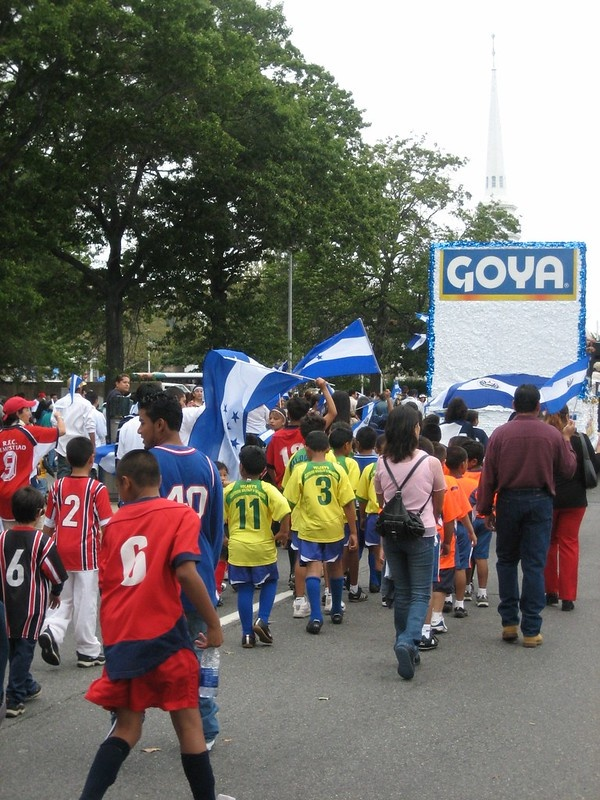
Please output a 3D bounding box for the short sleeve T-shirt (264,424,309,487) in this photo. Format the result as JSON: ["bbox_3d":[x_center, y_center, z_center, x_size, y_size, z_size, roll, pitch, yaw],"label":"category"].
[{"bbox_3d":[-0.101,0.483,8.941,0.516,0.581,0.253,6,25,12],"label":"short sleeve T-shirt"}]

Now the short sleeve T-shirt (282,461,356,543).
[{"bbox_3d":[0.139,0.772,7.749,0.660,0.643,0.319,0,8,12],"label":"short sleeve T-shirt"}]

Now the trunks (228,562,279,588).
[{"bbox_3d":[-0.317,1.168,7.013,0.303,0.210,0.169,1,10,8],"label":"trunks"}]

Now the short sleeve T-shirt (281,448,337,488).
[{"bbox_3d":[0.086,0.525,8.010,0.372,0.337,0.151,-7,-19,13],"label":"short sleeve T-shirt"}]

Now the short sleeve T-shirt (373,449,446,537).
[{"bbox_3d":[0.714,0.572,6.575,0.455,0.521,0.305,-1,19,18],"label":"short sleeve T-shirt"}]

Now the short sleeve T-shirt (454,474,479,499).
[{"bbox_3d":[1.278,0.662,7.972,0.220,0.207,0.119,2,-18,10],"label":"short sleeve T-shirt"}]

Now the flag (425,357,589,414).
[{"bbox_3d":[2.852,-0.303,13.942,1.890,0.549,1.419,2,-15,21],"label":"flag"}]

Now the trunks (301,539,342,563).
[{"bbox_3d":[0.150,1.119,7.696,0.296,0.212,0.166,1,1,4],"label":"trunks"}]

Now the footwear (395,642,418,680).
[{"bbox_3d":[0.634,1.510,6.066,0.094,0.271,0.118,-2,7,21],"label":"footwear"}]

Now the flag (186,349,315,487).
[{"bbox_3d":[-0.456,0.147,8.935,1.264,1.086,0.252,2,10,38],"label":"flag"}]

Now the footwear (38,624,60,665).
[{"bbox_3d":[-1.472,1.459,6.130,0.107,0.271,0.108,-4,31,8],"label":"footwear"}]

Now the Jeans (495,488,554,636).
[{"bbox_3d":[1.555,1.121,7.215,0.371,1.007,0.306,-4,-16,28],"label":"Jeans"}]

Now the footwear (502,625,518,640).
[{"bbox_3d":[1.452,1.603,7.114,0.061,0.059,0.141,-1,-13,1],"label":"footwear"}]

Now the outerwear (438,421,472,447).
[{"bbox_3d":[1.560,0.326,10.342,0.152,0.257,0.270,5,2,-36],"label":"outerwear"}]
